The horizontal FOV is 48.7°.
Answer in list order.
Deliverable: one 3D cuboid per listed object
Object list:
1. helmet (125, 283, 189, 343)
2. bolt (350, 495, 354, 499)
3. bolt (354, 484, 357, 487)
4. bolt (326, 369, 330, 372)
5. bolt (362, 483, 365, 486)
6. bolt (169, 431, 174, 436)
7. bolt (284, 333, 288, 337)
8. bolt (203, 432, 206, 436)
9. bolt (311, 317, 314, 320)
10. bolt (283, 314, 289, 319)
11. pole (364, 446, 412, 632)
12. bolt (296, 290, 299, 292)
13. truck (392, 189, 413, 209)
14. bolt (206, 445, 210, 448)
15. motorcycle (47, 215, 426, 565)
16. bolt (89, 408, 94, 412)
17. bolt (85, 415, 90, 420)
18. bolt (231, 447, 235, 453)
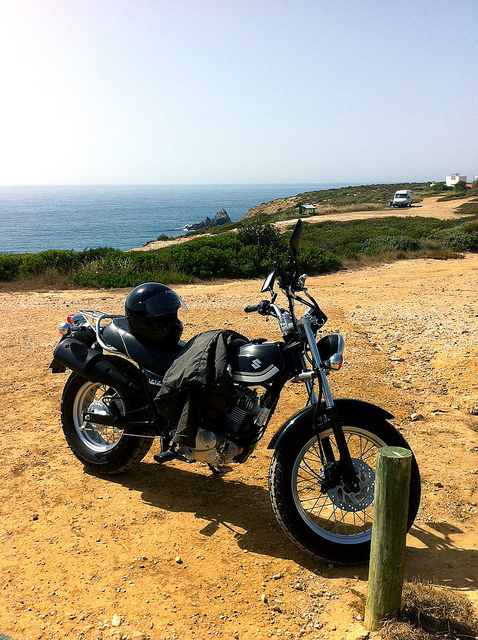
[{"bbox_3d":[-0.693,-0.090,4.401,0.572,0.448,0.461,11,9,15],"label":"helmet"},{"bbox_3d":[0.694,1.083,3.237,0.017,0.004,0.016,9,38,15],"label":"bolt"},{"bbox_3d":[0.709,1.005,3.220,0.017,0.016,0.004,-1,38,15],"label":"bolt"},{"bbox_3d":[0.534,0.302,3.189,0.021,0.005,0.022,6,11,11],"label":"bolt"},{"bbox_3d":[0.763,1.009,3.248,0.027,0.017,0.015,3,12,10],"label":"bolt"},{"bbox_3d":[-0.508,0.843,3.936,0.031,0.031,0.009,6,38,8],"label":"bolt"},{"bbox_3d":[0.299,0.094,3.372,0.021,0.013,0.012,3,19,14],"label":"bolt"},{"bbox_3d":[-0.228,0.751,3.489,0.016,0.015,0.019,12,-23,-36],"label":"bolt"},{"bbox_3d":[0.455,-0.011,3.271,0.016,0.010,0.009,8,14,11],"label":"bolt"},{"bbox_3d":[0.303,-0.025,3.428,0.060,0.020,0.029,-11,15,-38],"label":"bolt"},{"bbox_3d":[0.733,1.098,2.628,0.192,0.872,0.289,2,13,18],"label":"pole"},{"bbox_3d":[0.375,-0.187,3.396,0.016,0.009,0.009,2,24,18],"label":"bolt"},{"bbox_3d":[19.882,-14.737,64.439,1.955,2.286,4.765,5,20,27],"label":"truck"},{"bbox_3d":[-0.206,0.832,3.482,0.026,0.023,0.009,5,14,29],"label":"bolt"},{"bbox_3d":[-0.134,0.438,3.913,3.014,1.857,1.067,9,0,27],"label":"motorcycle"},{"bbox_3d":[-1.256,0.765,4.508,0.037,0.023,0.021,0,-18,25],"label":"bolt"},{"bbox_3d":[-1.289,0.829,4.492,0.039,0.038,0.010,3,3,7],"label":"bolt"},{"bbox_3d":[-0.040,0.855,3.489,0.034,0.033,0.010,-2,-7,11],"label":"bolt"}]
